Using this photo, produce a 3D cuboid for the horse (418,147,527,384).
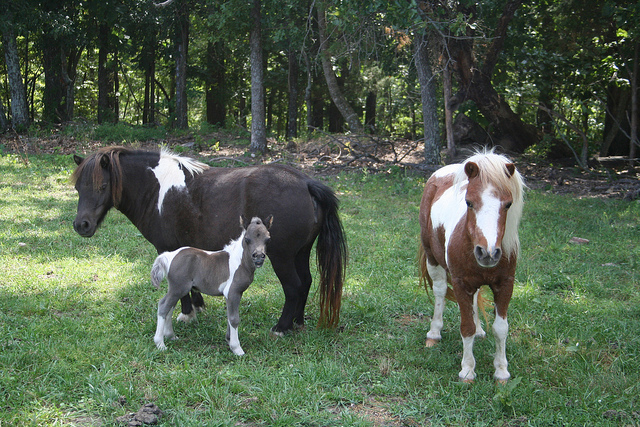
[{"bbox_3d":[3.185,1.099,13.706,2.075,4.755,1.033,8,10,44],"label":"horse"}]
